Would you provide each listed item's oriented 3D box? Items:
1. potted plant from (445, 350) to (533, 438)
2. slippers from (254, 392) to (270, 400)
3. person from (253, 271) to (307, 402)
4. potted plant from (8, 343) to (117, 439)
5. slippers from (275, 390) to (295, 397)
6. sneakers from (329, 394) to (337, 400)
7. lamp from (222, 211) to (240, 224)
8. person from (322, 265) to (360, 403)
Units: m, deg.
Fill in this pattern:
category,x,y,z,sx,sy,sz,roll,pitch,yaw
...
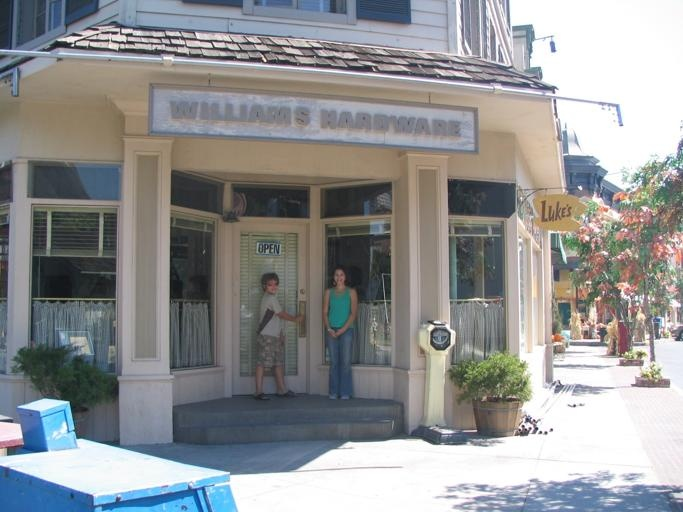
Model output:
category,x,y,z,sx,sy,sz,roll,pitch,yaw
potted plant,2.347,2.118,9.839,1.057,1.175,0.887,-9,-20,43
slippers,-1.244,2.184,10.094,0.239,0.106,0.356,-1,-7,-7
person,-1.101,1.267,10.421,0.642,1.983,0.742,-5,-8,30
potted plant,-3.534,1.895,8.824,1.415,1.644,1.202,1,-2,-11
slippers,-0.864,2.203,10.374,0.222,0.088,0.107,0,-6,1
sneakers,-0.129,2.194,10.083,0.118,0.066,0.236,-1,-7,-3
lamp,-1.761,-0.633,10.483,0.198,0.197,0.309,-5,-8,23
person,-0.018,1.220,10.252,0.507,2.037,0.219,-1,-7,-1
